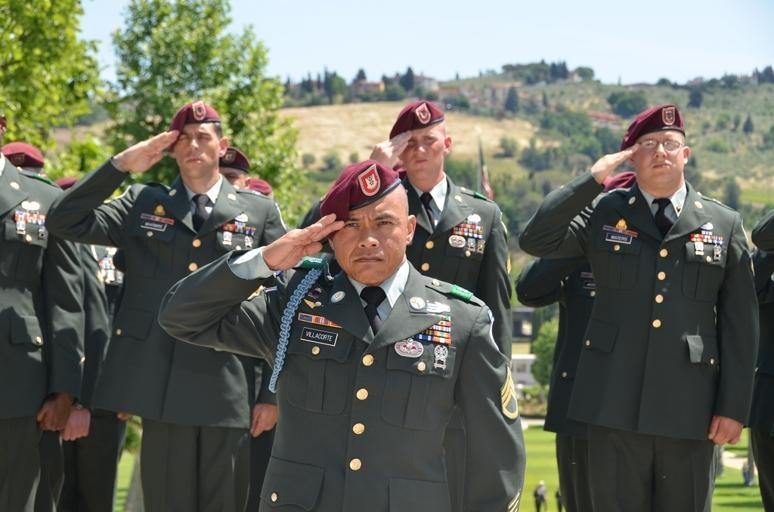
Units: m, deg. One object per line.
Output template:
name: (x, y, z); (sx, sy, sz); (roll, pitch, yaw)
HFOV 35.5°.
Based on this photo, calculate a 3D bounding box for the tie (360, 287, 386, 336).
tie: (-0.117, 0.416, 9.388); (0.188, 0.336, 0.091); (-3, -3, 7)
